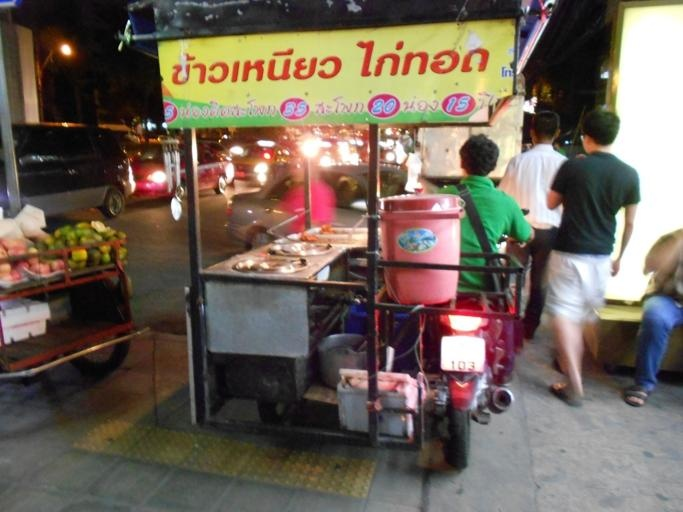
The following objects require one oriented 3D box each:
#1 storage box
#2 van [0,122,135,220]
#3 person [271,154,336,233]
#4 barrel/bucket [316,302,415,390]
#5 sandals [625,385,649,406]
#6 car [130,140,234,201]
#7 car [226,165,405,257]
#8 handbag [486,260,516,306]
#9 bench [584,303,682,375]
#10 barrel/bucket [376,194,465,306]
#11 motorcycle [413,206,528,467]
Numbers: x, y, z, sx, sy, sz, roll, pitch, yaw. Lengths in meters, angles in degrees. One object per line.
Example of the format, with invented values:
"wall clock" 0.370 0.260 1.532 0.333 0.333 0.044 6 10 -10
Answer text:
"storage box" 0.282 1.042 4.074 0.673 0.587 0.433 4 15 21
"van" -5.690 -1.769 11.553 1.254 1.340 2.869 1 6 11
"person" -0.438 -0.962 8.376 0.734 0.425 1.194 -24 23 -31
"barrel/bucket" 0.194 0.730 4.670 0.835 0.822 0.519 4 6 17
"sandals" 2.761 1.280 5.107 0.287 0.111 0.128 -2 17 10
"car" -4.851 -2.488 16.150 2.404 1.538 2.642 2 13 12
"car" -0.618 -0.600 8.734 2.712 0.995 1.281 -6 8 21
"handbag" 1.242 0.210 4.278 0.237 0.451 0.113 2 8 36
"bench" 2.837 0.841 5.543 0.644 0.432 0.651 2 14 20
"barrel/bucket" 0.431 -0.029 3.956 0.639 0.881 0.675 -2 -3 0
"motorcycle" 0.909 0.621 4.751 0.766 1.320 1.949 2 16 16
